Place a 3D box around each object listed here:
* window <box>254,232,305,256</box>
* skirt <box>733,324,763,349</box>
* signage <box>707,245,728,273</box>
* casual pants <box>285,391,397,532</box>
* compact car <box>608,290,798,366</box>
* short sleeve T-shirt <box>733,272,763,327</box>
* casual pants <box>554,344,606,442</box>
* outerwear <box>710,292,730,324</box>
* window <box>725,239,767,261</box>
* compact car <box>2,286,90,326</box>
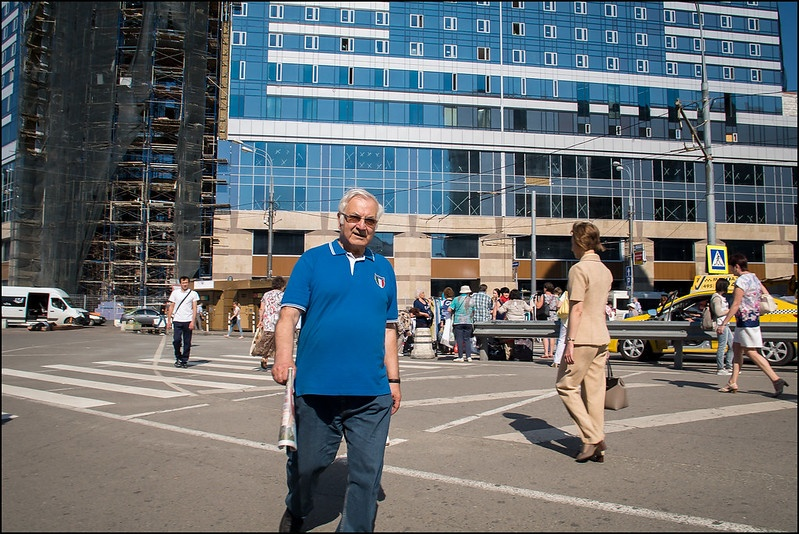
[{"bbox_3d":[-8.933,-1.681,49.780,3.032,1.524,0.067,1,-10,-11],"label":"window"},{"bbox_3d":[7.353,1.477,14.410,0.444,0.494,0.767,-3,-10,43],"label":"skirt"},{"bbox_3d":[10.325,-0.243,22.363,1.002,1.016,0.115,3,-10,-16],"label":"signage"},{"bbox_3d":[-0.823,2.601,9.212,1.381,1.789,0.258,1,-3,1],"label":"casual pants"},{"bbox_3d":[8.552,1.777,19.361,4.270,1.399,2.350,0,-5,21],"label":"compact car"},{"bbox_3d":[7.265,0.700,14.290,0.666,1.131,0.253,2,-3,-12],"label":"short sleeve T-shirt"},{"bbox_3d":[2.949,2.043,11.100,0.777,1.526,0.342,0,-3,12],"label":"casual pants"},{"bbox_3d":[7.628,0.996,16.350,0.413,0.766,0.680,-1,-4,24],"label":"outerwear"},{"bbox_3d":[23.821,-1.272,47.038,2.559,1.524,1.267,1,1,7],"label":"window"},{"bbox_3d":[-21.043,2.344,40.282,4.315,2.217,1.359,2,-3,-15],"label":"compact car"}]
